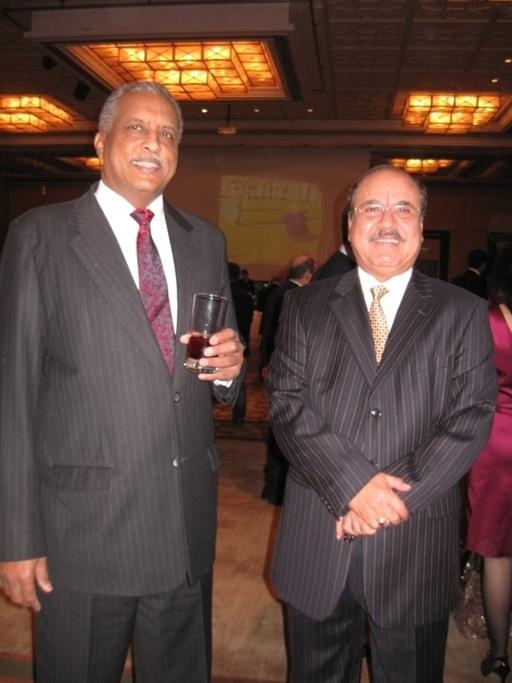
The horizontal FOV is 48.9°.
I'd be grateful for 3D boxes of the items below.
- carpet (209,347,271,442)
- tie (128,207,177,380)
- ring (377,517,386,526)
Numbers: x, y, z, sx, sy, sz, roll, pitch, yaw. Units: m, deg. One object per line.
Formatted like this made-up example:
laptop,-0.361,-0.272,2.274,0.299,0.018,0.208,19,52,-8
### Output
carpet,-0.085,0.473,4.107,0.246,0.737,1.033,-15,12,8
tie,-0.231,-0.109,1.250,0.082,0.370,0.050,-7,-12,-16
ring,0.289,0.407,1.276,0.016,0.020,0.011,4,4,-20
